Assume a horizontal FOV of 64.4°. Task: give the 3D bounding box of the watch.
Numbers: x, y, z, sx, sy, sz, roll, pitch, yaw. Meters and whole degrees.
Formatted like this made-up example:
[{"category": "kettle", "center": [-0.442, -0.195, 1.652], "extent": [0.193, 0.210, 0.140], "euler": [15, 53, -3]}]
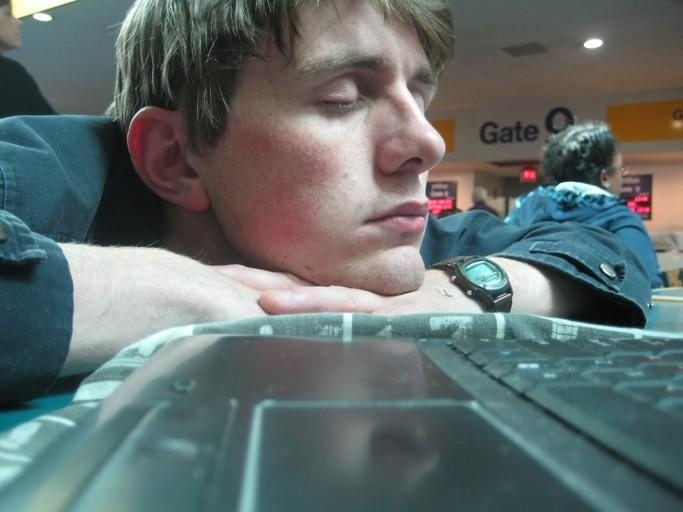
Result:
[{"category": "watch", "center": [0.233, 0.057, 0.981], "extent": [0.072, 0.100, 0.114], "euler": [-26, 37, -34]}]
